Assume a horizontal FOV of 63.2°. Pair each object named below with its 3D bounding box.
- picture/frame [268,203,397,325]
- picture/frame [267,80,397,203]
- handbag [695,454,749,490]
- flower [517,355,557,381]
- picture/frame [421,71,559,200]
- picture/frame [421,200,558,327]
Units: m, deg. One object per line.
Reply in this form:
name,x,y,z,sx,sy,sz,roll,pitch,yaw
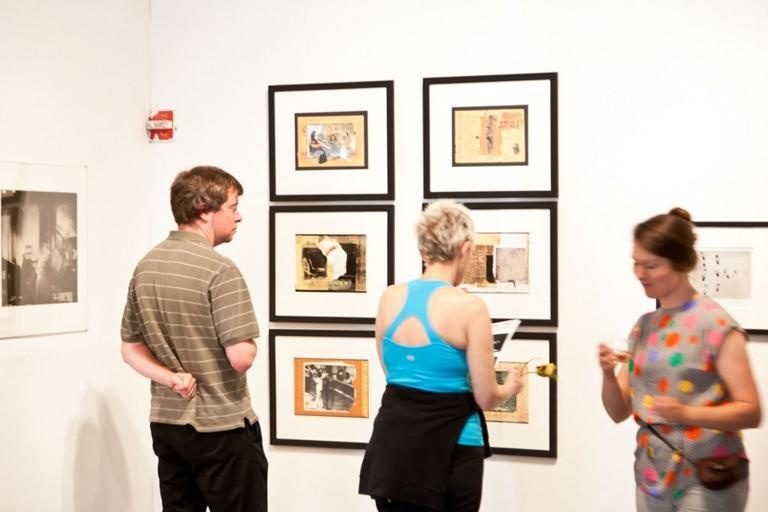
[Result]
picture/frame,-0.293,0.043,3.847,0.741,0.706,0.055,0,-1,5
picture/frame,-0.295,-0.716,3.876,0.742,0.704,0.028,-1,3,9
handbag,1.527,0.971,2.816,0.180,0.146,0.078,-9,0,-1
flower,0.861,0.631,3.418,0.179,0.074,0.183,-4,6,-6
picture/frame,0.671,-0.728,3.749,0.786,0.702,0.029,0,2,8
picture/frame,0.605,0.038,3.407,0.743,0.714,0.036,0,-1,11
